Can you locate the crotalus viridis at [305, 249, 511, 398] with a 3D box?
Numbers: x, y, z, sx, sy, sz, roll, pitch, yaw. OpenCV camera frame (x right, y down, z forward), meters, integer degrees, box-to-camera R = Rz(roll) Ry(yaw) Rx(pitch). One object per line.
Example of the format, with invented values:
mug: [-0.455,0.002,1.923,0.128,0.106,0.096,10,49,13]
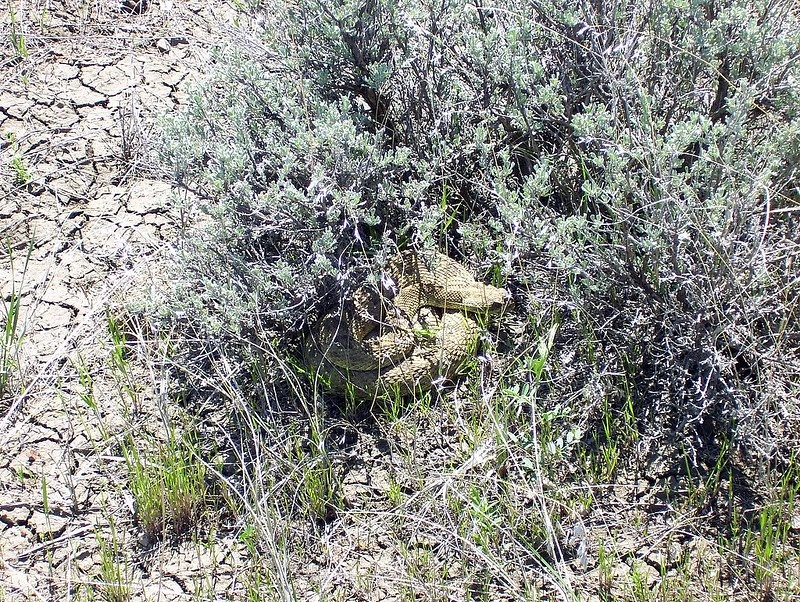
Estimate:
crotalus viridis: [-0.029,0.175,4.327,0.927,0.255,0.932,-4,51,1]
